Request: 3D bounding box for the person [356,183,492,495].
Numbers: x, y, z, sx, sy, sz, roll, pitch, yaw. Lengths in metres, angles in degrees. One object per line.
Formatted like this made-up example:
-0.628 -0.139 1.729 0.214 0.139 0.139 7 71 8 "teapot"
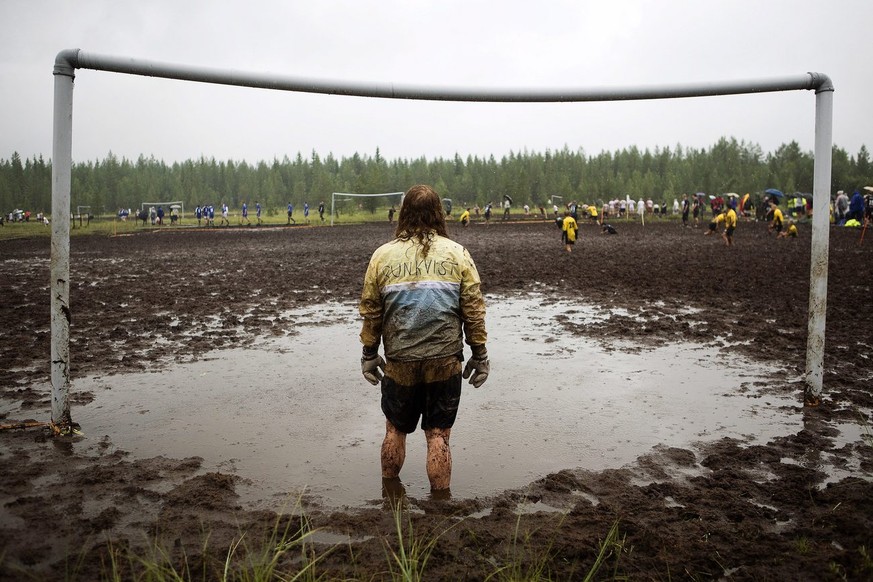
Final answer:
-0.126 0.533 6.984 1.205 2.852 0.646 -3 14 -7 "person"
